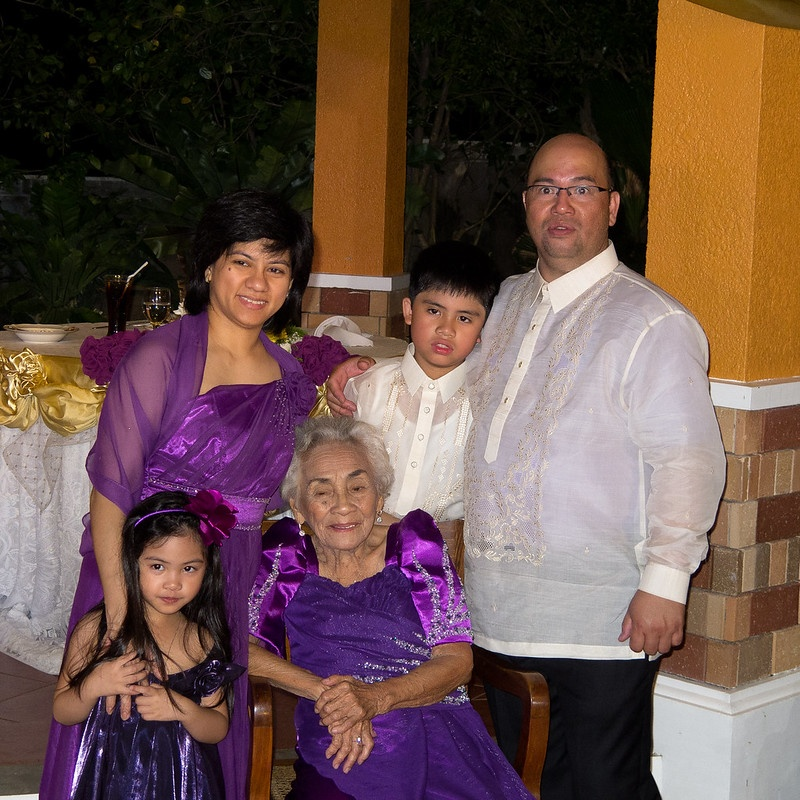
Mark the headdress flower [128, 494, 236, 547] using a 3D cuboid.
[{"bbox_3d":[-0.430,0.227,1.679,0.149,0.078,0.110,-9,17,12],"label":"headdress flower"}]

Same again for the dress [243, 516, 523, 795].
[{"bbox_3d":[0.003,0.555,1.969,0.548,0.614,0.517,-9,-1,-9],"label":"dress"}]

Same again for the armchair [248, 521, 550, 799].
[{"bbox_3d":[0.021,0.526,1.960,0.572,0.619,0.519,-9,-1,-9],"label":"armchair"}]
